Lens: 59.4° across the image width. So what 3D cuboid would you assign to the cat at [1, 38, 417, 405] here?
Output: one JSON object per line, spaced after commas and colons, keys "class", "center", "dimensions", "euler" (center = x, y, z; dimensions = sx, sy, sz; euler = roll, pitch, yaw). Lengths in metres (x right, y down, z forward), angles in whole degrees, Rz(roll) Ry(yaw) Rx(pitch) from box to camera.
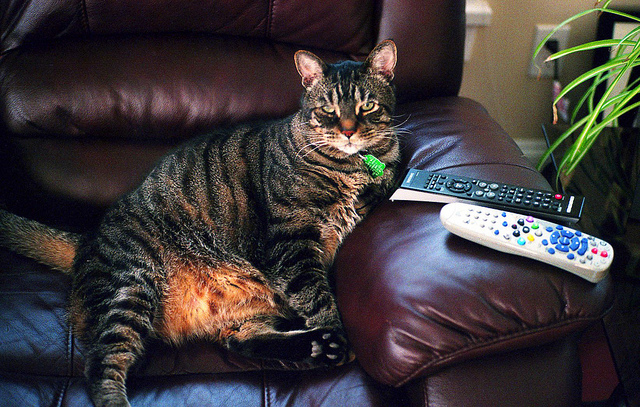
{"class": "cat", "center": [-0.292, 0.003, 1.327], "dimensions": [1.005, 0.662, 0.623], "euler": [2, 27, 2]}
